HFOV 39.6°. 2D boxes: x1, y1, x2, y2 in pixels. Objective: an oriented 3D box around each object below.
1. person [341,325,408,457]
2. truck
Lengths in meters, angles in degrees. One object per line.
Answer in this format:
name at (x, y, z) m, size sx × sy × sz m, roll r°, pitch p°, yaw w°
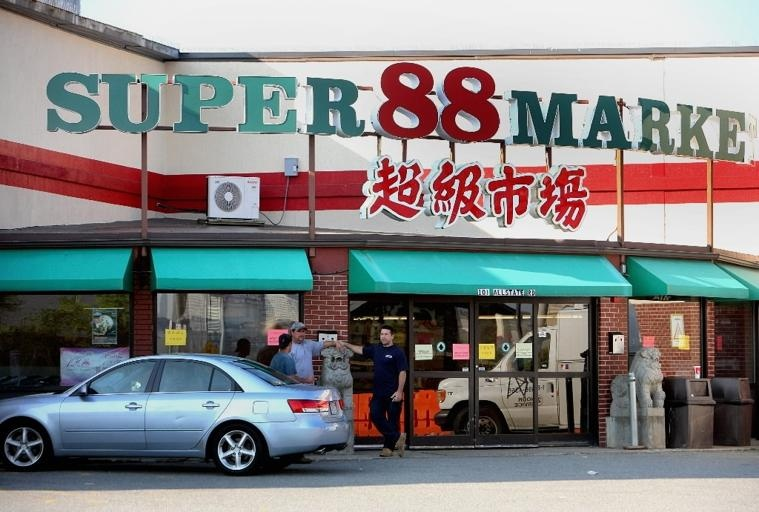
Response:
person at (-0.151, 2.718, 20.924) m, size 1.508 × 2.459 × 0.882 m, roll -2°, pitch -15°, yaw 12°
truck at (3.897, 2.736, 23.939) m, size 4.852 × 2.811 × 2.704 m, roll -6°, pitch 0°, yaw 16°
